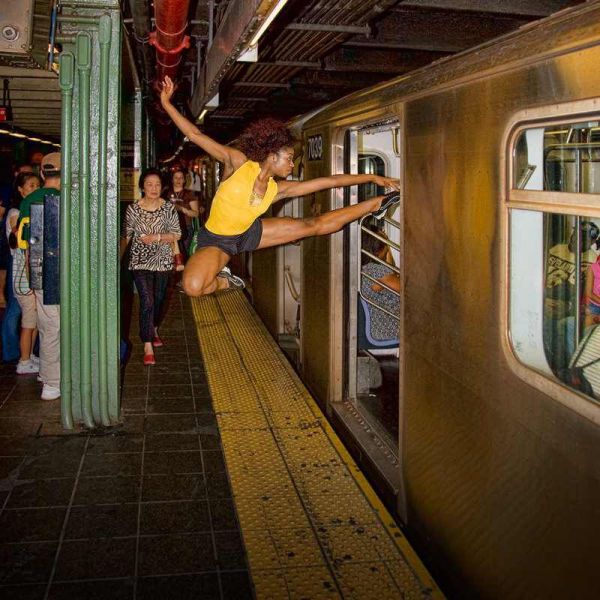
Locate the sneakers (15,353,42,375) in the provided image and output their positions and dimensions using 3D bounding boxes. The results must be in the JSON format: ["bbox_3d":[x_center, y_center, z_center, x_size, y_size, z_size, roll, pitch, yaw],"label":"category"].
[{"bbox_3d":[-2.792,0.679,5.286,0.116,0.160,0.349,7,10,36],"label":"sneakers"}]

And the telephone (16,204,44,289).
[{"bbox_3d":[-2.123,-0.421,4.051,0.183,0.677,0.659,2,5,-15],"label":"telephone"}]

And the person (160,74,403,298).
[{"bbox_3d":[-0.111,-0.911,3.900,1.937,1.517,0.855,-2,21,1],"label":"person"}]

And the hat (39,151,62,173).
[{"bbox_3d":[-2.257,-1.237,4.571,0.137,0.212,0.404,-3,8,-29],"label":"hat"}]

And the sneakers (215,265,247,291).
[{"bbox_3d":[-0.875,-0.275,6.680,0.222,0.192,0.566,15,30,-52],"label":"sneakers"}]

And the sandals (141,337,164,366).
[{"bbox_3d":[-1.760,0.628,6.002,0.226,0.104,0.699,-2,10,-11],"label":"sandals"}]
